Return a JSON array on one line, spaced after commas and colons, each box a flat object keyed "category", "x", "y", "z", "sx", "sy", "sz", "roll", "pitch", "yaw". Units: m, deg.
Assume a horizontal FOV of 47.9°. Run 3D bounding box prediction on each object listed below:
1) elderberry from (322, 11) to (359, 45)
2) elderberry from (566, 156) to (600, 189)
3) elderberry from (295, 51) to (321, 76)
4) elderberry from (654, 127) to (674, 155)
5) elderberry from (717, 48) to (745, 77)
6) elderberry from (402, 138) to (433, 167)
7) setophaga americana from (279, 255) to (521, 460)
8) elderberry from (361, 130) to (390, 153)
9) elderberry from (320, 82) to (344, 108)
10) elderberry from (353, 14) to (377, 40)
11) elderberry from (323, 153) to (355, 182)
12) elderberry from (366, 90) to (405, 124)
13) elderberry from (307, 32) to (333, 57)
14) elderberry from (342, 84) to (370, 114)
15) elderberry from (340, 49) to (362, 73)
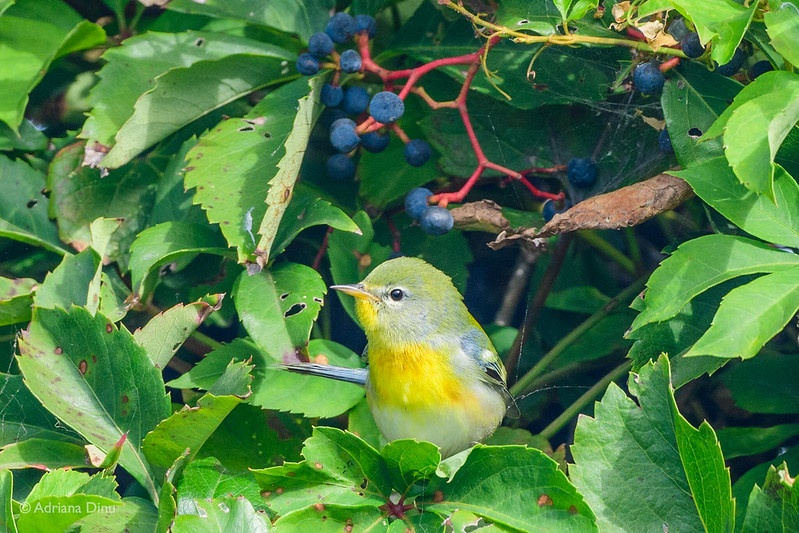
[{"category": "elderberry", "x": -0.179, "y": -0.733, "z": 2.792, "sx": 0.088, "sy": 0.088, "sz": 0.051, "roll": 27, "pitch": -3, "yaw": 36}, {"category": "elderberry", "x": 0.596, "y": -0.304, "z": 2.941, "sx": 0.098, "sy": 0.096, "sz": 0.054, "roll": -24, "pitch": 3, "yaw": -5}, {"category": "elderberry", "x": -0.284, "y": -0.626, "z": 2.808, "sx": 0.072, "sy": 0.082, "sz": 0.067, "roll": 5, "pitch": 10, "yaw": 6}, {"category": "elderberry", "x": 0.820, "y": -0.380, "z": 2.774, "sx": 0.038, "sy": 0.070, "sz": 0.070, "roll": 4, "pitch": -28, "yaw": 30}, {"category": "elderberry", "x": 0.952, "y": -0.588, "z": 2.598, "sx": 0.039, "sy": 0.071, "sz": 0.071, "roll": 41, "pitch": 1, "yaw": 13}, {"category": "elderberry", "x": 0.061, "y": -0.366, "z": 2.963, "sx": 0.084, "sy": 0.098, "sz": 0.084, "roll": 2, "pitch": 33, "yaw": 9}, {"category": "setophaga americana", "x": 0.024, "y": 0.341, "z": 2.892, "sx": 0.841, "sy": 0.691, "sz": 0.478, "roll": 1, "pitch": -5, "yaw": -29}, {"category": "elderberry", "x": -0.079, "y": -0.393, "z": 2.890, "sx": 0.086, "sy": 0.083, "sz": 0.048, "roll": -2, "pitch": 29, "yaw": -5}, {"category": "elderberry", "x": -0.211, "y": -0.534, "z": 2.871, "sx": 0.070, "sy": 0.069, "sz": 0.094, "roll": 14, "pitch": 31, "yaw": -6}, {"category": "elderberry", "x": -0.111, "y": -0.755, "z": 2.838, "sx": 0.063, "sy": 0.071, "sz": 0.039, "roll": -1, "pitch": -19, "yaw": -40}, {"category": "elderberry", "x": -0.199, "y": -0.326, "z": 2.989, "sx": 0.088, "sy": 0.085, "sz": 0.048, "roll": 0, "pitch": 19, "yaw": 2}, {"category": "elderberry", "x": -0.041, "y": -0.481, "z": 2.756, "sx": 0.095, "sy": 0.097, "sz": 0.077, "roll": 22, "pitch": 35, "yaw": 34}, {"category": "elderberry", "x": -0.244, "y": -0.681, "z": 2.783, "sx": 0.073, "sy": 0.072, "sz": 0.071, "roll": 3, "pitch": 2, "yaw": 6}, {"category": "elderberry", "x": -0.139, "y": -0.525, "z": 2.888, "sx": 0.077, "sy": 0.090, "sz": 0.063, "roll": 19, "pitch": 33, "yaw": 30}, {"category": "elderberry", "x": -0.150, "y": -0.625, "z": 2.770, "sx": 0.066, "sy": 0.066, "sz": 0.036, "roll": 28, "pitch": -6, "yaw": -8}]
